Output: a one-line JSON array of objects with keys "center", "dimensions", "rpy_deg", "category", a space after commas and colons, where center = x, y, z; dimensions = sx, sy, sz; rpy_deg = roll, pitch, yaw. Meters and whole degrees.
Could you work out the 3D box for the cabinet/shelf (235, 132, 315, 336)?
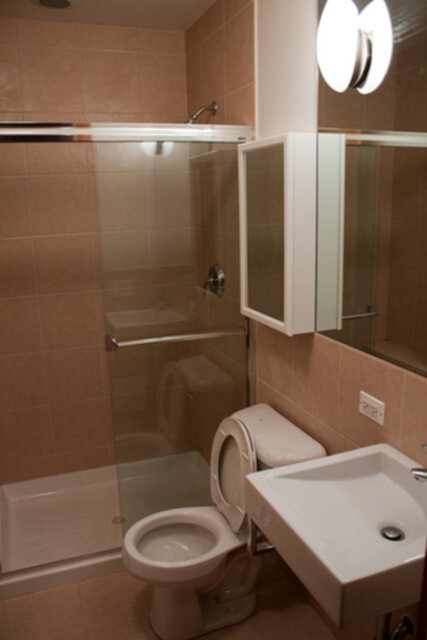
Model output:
[{"center": [0.224, -0.311, 1.708], "dimensions": [0.133, 0.661, 0.444], "rpy_deg": [-5, 11, -17], "category": "cabinet/shelf"}]
